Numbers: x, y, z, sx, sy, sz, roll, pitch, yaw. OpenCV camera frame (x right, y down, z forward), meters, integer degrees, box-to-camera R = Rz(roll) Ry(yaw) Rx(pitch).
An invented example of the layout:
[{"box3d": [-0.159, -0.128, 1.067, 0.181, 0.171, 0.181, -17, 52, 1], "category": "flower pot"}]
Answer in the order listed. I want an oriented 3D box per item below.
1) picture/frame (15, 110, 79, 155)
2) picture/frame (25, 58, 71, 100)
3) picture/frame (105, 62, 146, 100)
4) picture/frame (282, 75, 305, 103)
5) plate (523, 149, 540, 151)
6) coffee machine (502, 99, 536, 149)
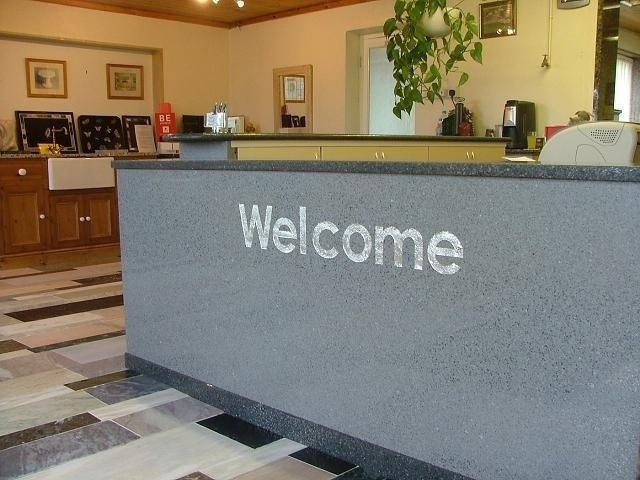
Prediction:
[{"box3d": [-3.853, -1.495, 6.648, 0.795, 0.690, 0.062, 1, -16, -40], "category": "picture/frame"}, {"box3d": [-3.947, -2.333, 6.841, 0.660, 0.682, 0.043, -1, -1, -41], "category": "picture/frame"}, {"box3d": [-3.097, -2.520, 7.500, 0.051, 0.581, 0.660, 3, 6, 43], "category": "picture/frame"}, {"box3d": [-0.398, -2.424, 7.560, 0.429, 0.451, 0.041, 8, 12, 38], "category": "picture/frame"}, {"box3d": [2.258, -0.951, 5.050, 0.195, 0.032, 0.073, -7, 10, -25], "category": "plate"}, {"box3d": [2.204, -1.265, 5.221, 0.436, 0.517, 0.173, -6, 9, -23], "category": "coffee machine"}]
